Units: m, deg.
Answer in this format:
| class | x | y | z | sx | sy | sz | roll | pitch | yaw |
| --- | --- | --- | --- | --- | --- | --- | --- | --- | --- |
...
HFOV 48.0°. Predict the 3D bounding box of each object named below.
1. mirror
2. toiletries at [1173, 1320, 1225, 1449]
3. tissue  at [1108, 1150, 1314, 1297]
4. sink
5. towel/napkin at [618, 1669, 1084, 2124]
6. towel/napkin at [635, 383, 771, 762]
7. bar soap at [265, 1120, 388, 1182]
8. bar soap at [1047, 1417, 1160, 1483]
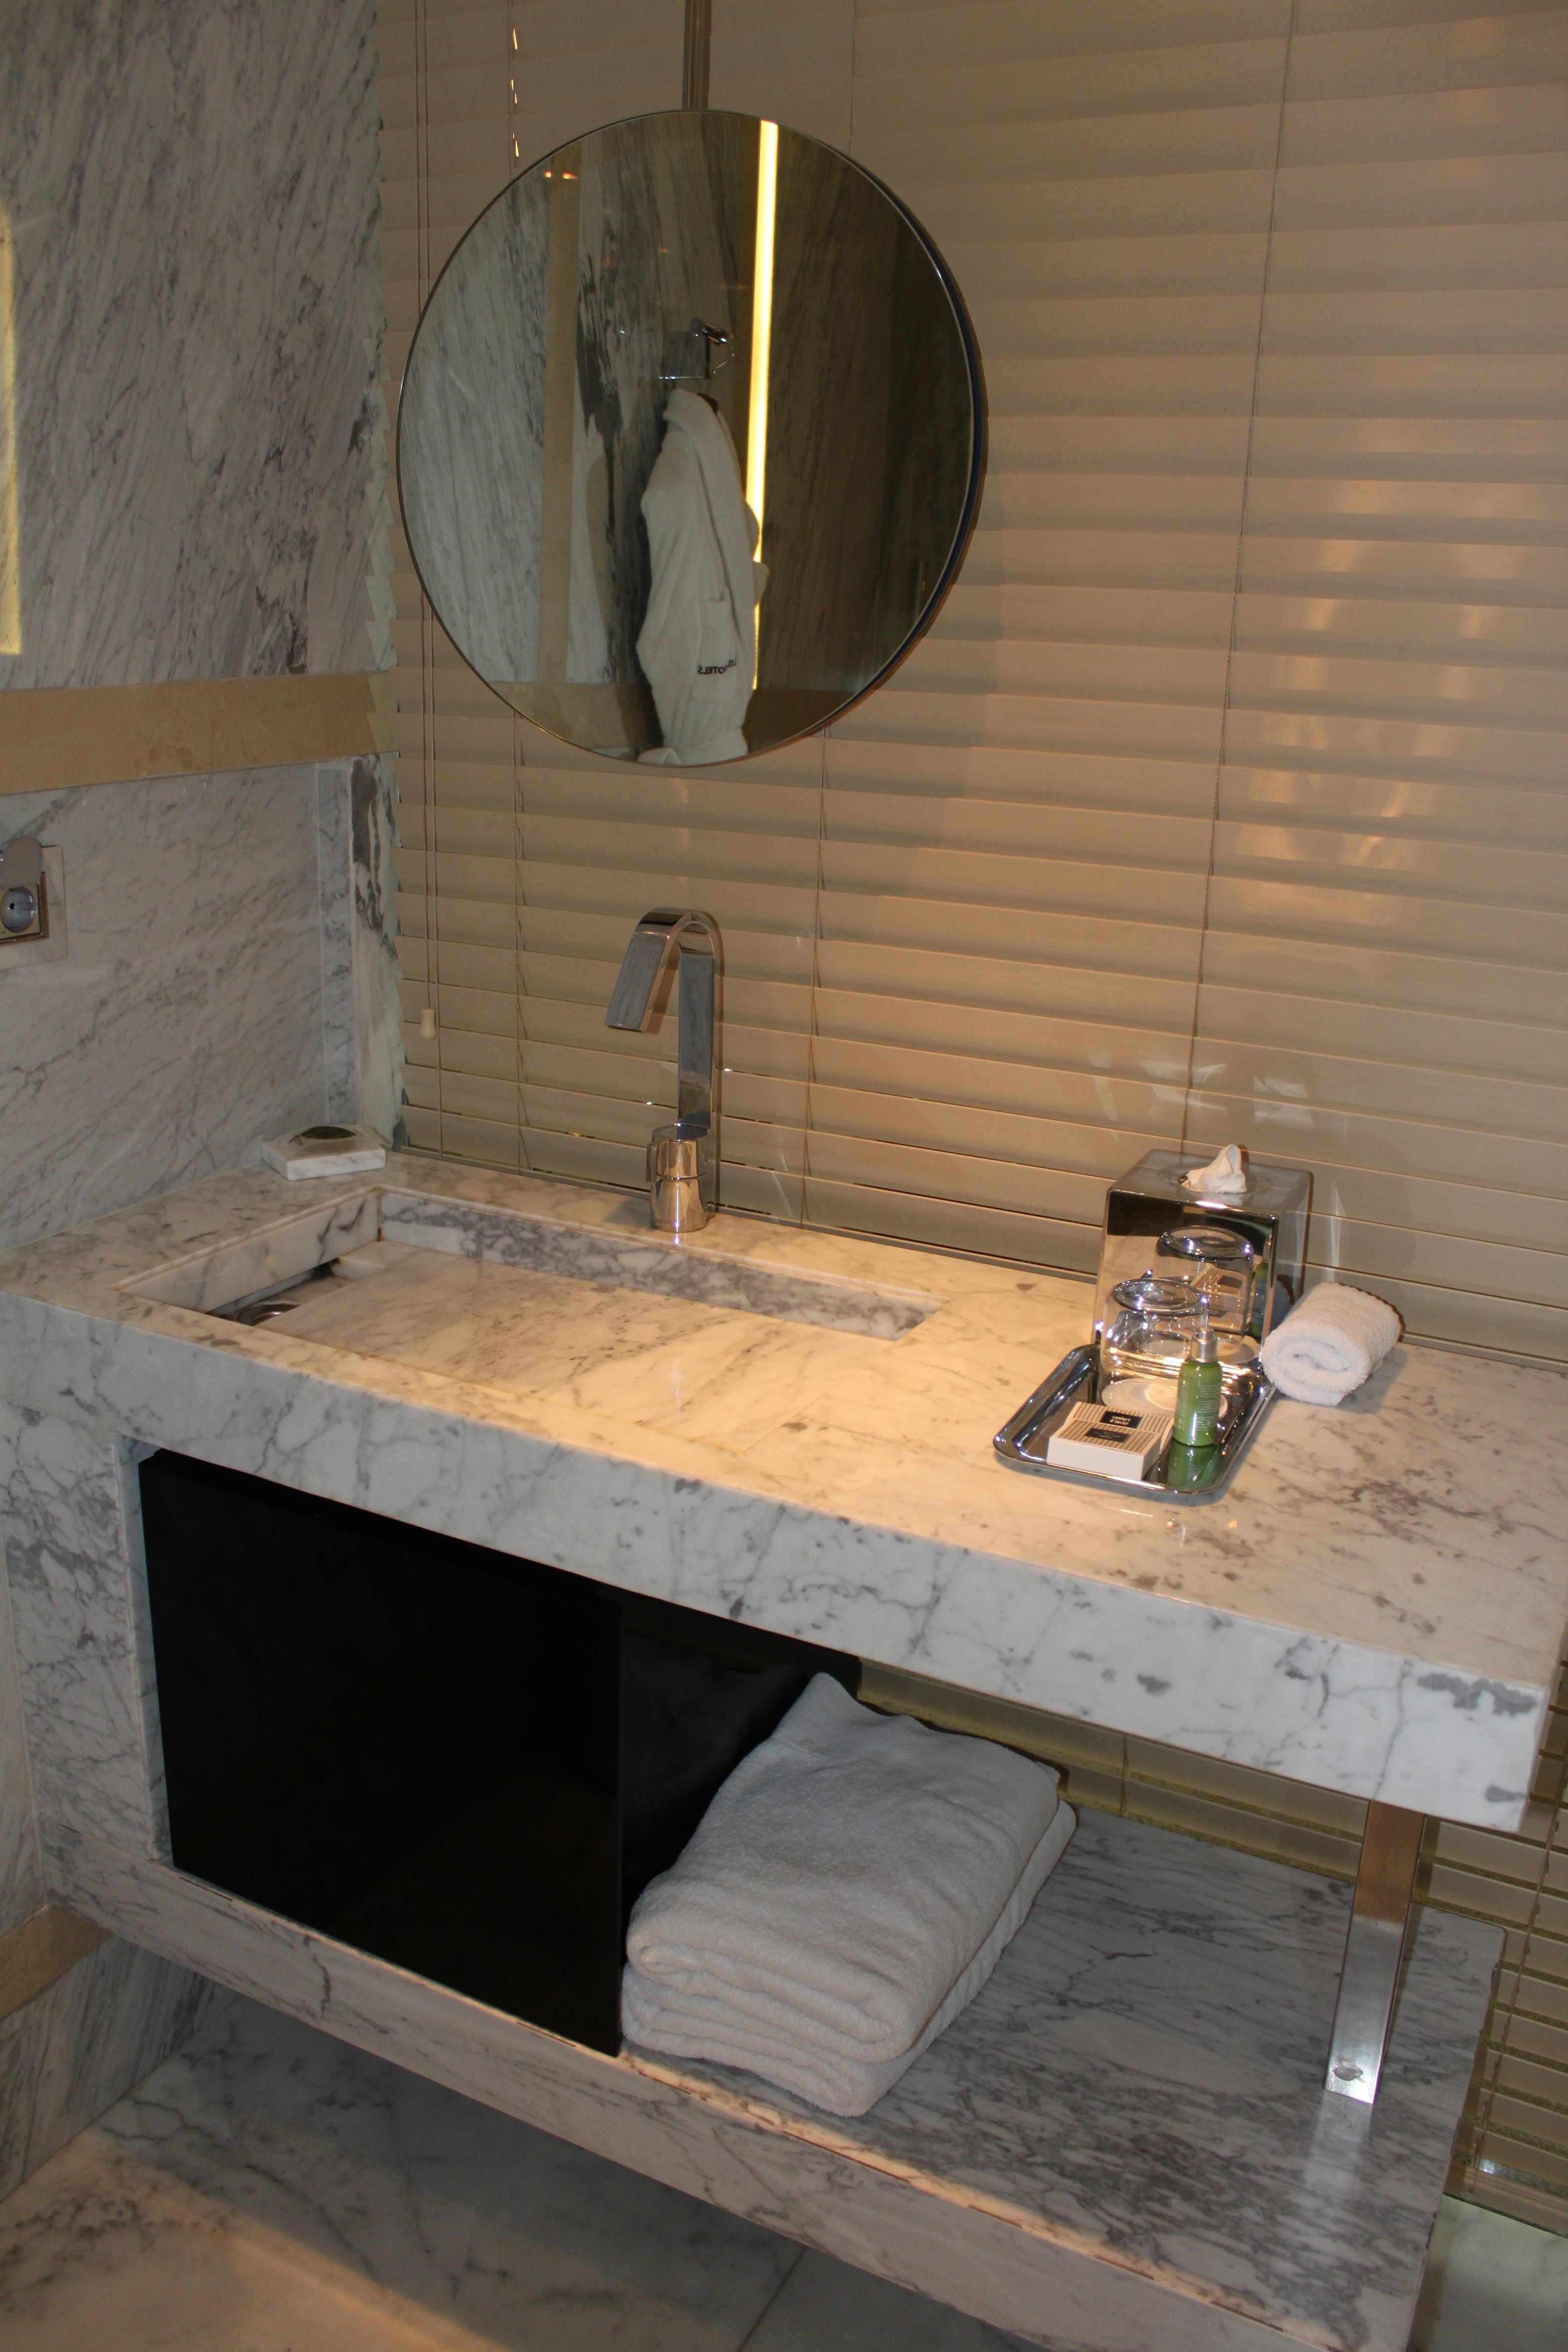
| class | x | y | z | sx | sy | sz | roll | pitch | yaw |
| --- | --- | --- | --- | --- | --- | --- | --- | --- | --- |
| mirror | -0.062 | -0.609 | 1.434 | 0.559 | 0.577 | 0.058 | 9 | 21 | 28 |
| toiletries | 0.262 | 0.134 | 1.109 | 0.025 | 0.065 | 0.060 | 4 | 9 | 25 |
| tissue  | 0.322 | 0.042 | 1.324 | 0.137 | 0.102 | 0.196 | 3 | 9 | 19 |
| sink | -0.189 | 0.096 | 1.486 | 0.626 | 0.115 | 0.325 | 2 | 8 | 11 |
| towel/napkin | 0.049 | 0.523 | 1.338 | 0.253 | 0.097 | 0.334 | 18 | 28 | 32 |
| towel/napkin | -0.064 | -0.510 | 1.450 | 0.125 | 0.357 | 0.137 | 3 | 28 | 7 |
| bar soap | -0.454 | -0.023 | 1.741 | 0.109 | 0.042 | 0.115 | -2 | 9 | -20 |
| bar soap | 0.203 | 0.168 | 1.108 | 0.067 | 0.019 | 0.098 | 4 | 9 | 23 |
